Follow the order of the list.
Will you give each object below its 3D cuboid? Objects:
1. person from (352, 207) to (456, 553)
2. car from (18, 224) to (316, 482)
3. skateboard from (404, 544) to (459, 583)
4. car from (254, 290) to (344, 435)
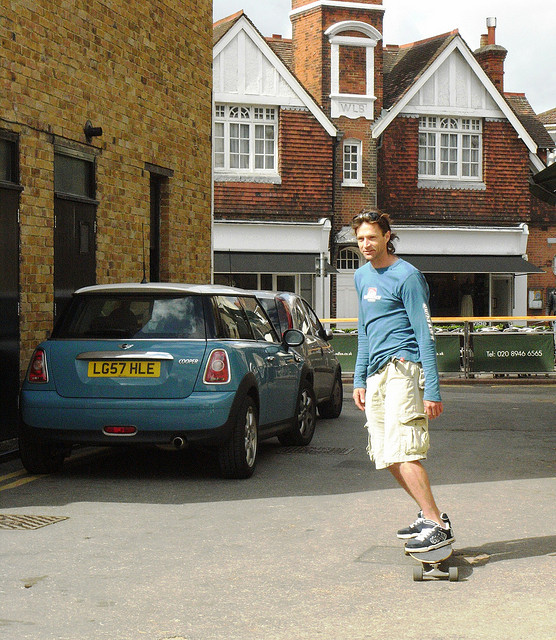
[{"bbox_3d":[0.629,0.283,4.755,0.355,1.407,0.692,-1,-1,-24],"label":"person"},{"bbox_3d":[-0.742,0.495,7.838,1.523,1.183,2.583,-2,0,40],"label":"car"},{"bbox_3d":[0.774,1.187,4.597,0.239,0.138,0.477,-2,0,10],"label":"skateboard"},{"bbox_3d":[0.299,0.341,11.248,0.912,1.001,1.811,0,0,19],"label":"car"}]
